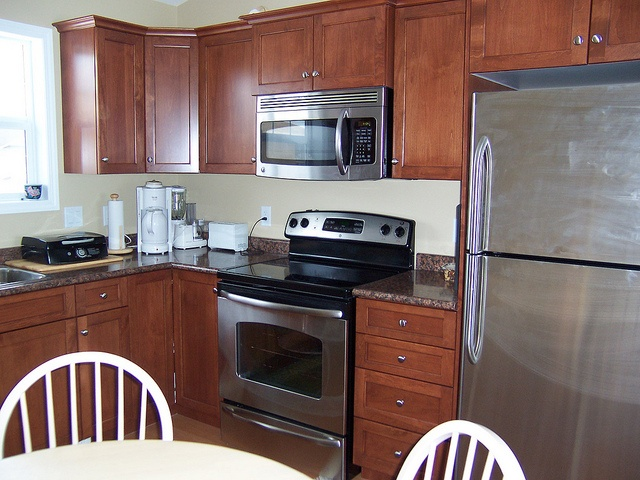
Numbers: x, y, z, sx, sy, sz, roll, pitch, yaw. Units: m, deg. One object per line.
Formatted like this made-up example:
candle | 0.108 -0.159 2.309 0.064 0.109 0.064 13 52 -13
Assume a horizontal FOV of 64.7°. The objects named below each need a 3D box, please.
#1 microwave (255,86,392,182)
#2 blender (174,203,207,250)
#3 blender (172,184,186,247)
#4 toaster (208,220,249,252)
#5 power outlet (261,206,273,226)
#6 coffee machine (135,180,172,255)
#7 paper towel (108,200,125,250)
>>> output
microwave | 0.015 -0.600 2.959 0.778 0.486 0.429 4 8 24
blender | -0.902 -0.104 3.542 0.257 0.304 0.167 -9 19 -42
blender | -0.988 -0.155 3.521 0.154 0.378 0.167 -2 3 -19
toaster | -0.627 -0.044 3.505 0.314 0.253 0.175 5 5 31
power outlet | -0.373 -0.164 3.522 0.092 0.138 0.024 4 11 36
coffee machine | -1.094 -0.144 3.340 0.233 0.472 0.147 -6 9 -22
paper towel | -1.344 -0.101 3.335 0.110 0.325 0.098 -6 10 -24
